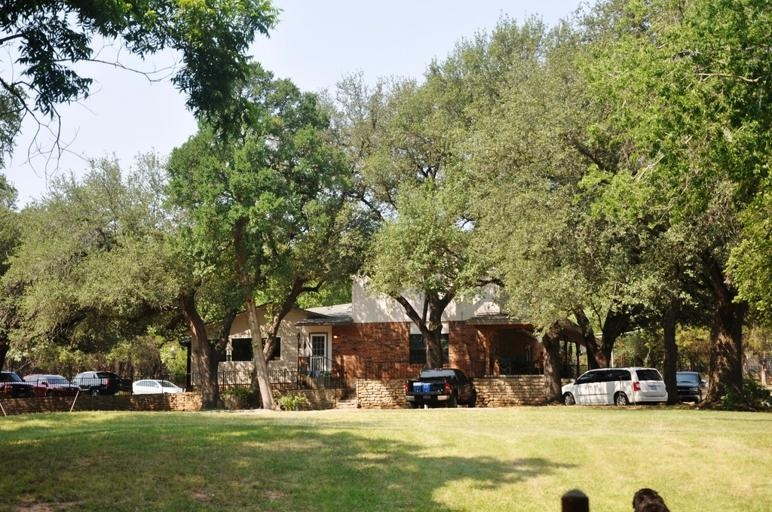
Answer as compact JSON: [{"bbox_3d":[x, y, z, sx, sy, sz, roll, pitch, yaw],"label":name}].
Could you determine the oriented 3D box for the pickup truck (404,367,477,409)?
[{"bbox_3d":[3.067,7.092,37.691,1.978,2.203,4.131,1,-1,43],"label":"pickup truck"}]

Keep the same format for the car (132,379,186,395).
[{"bbox_3d":[-17.880,10.173,55.068,3.335,1.454,1.764,-5,-8,18],"label":"car"}]

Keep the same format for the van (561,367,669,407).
[{"bbox_3d":[12.143,6.824,37.720,2.421,1.819,4.754,9,-11,-39],"label":"van"}]

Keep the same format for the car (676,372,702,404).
[{"bbox_3d":[19.175,8.367,44.791,1.362,1.711,2.440,1,-1,22],"label":"car"}]
